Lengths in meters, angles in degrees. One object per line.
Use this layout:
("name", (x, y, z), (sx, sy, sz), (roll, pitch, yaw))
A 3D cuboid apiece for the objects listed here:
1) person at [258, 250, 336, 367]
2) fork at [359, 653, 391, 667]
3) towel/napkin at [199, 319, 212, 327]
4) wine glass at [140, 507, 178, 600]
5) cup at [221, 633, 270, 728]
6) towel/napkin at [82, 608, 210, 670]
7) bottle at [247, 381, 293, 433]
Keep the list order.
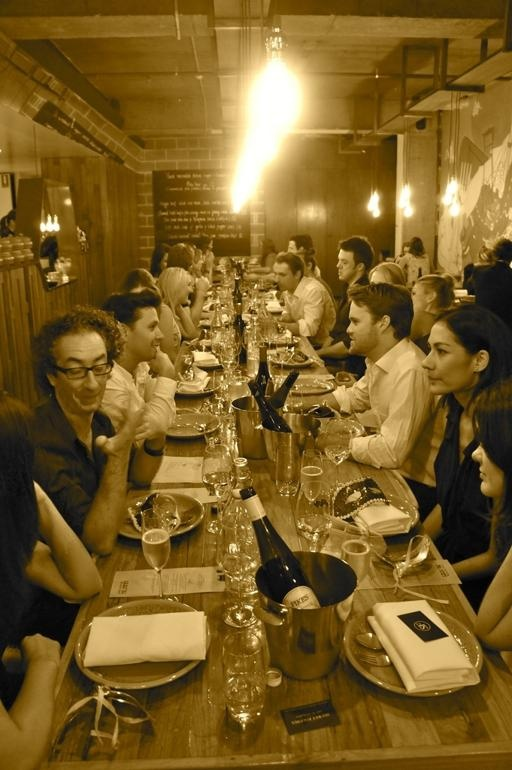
("person", (0.477, -0.854, 5.841), (0.873, 1.372, 0.876), (-6, 8, -6))
("fork", (0.200, 0.456, 0.906), (0.058, 0.017, 0.011), (-2, -26, 21))
("towel/napkin", (-0.484, -0.602, 5.298), (0.116, 0.071, 0.119), (-7, 15, -27))
("wine glass", (-0.213, 0.373, 1.193), (0.049, 0.178, 0.051), (0, 38, 2))
("cup", (-0.016, 0.432, 0.791), (0.071, 0.130, 0.074), (-2, 15, 1))
("towel/napkin", (-0.189, 0.433, 0.932), (0.127, 0.024, 0.091), (-4, 20, -3))
("bottle", (0.045, 0.080, 1.928), (0.075, 0.083, 0.297), (-15, 52, -20))
